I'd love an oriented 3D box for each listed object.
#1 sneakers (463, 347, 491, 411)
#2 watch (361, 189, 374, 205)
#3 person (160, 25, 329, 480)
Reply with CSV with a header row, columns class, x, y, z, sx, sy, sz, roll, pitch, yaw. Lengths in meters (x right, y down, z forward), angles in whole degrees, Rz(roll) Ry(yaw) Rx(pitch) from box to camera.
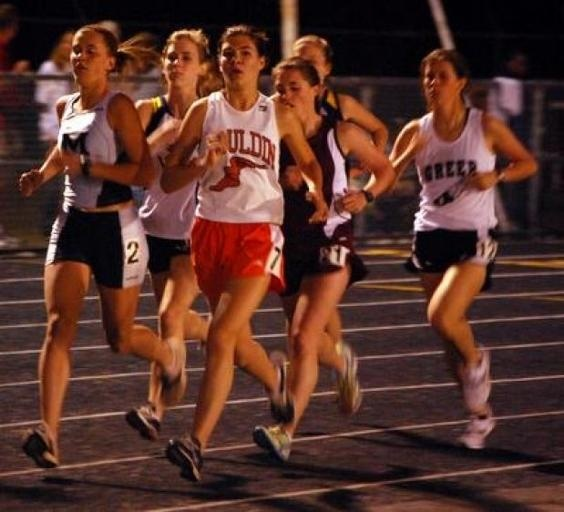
class,x,y,z,sx,sy,sz,roll,pitch,yaw
sneakers,1.088,0.687,4.397,0.095,0.291,0.167,3,-4,-41
watch,0.461,-0.316,4.232,0.024,0.070,0.072,-30,40,-2
person,-0.257,-0.073,3.606,0.501,2.024,1.007,2,4,39
